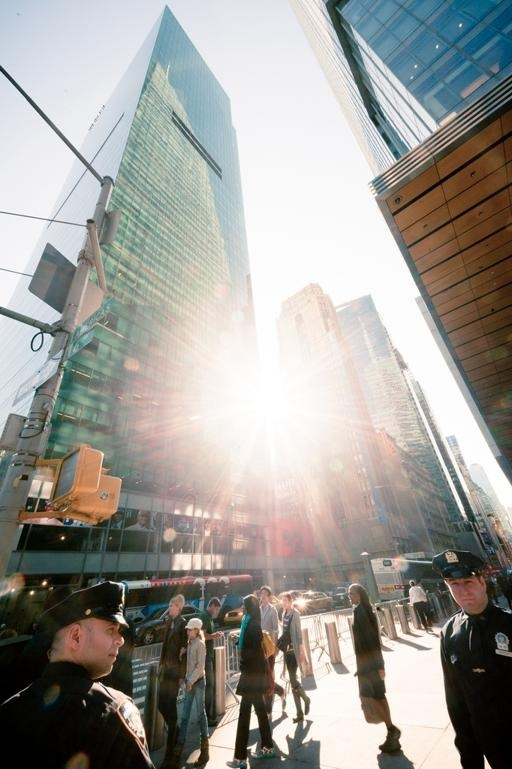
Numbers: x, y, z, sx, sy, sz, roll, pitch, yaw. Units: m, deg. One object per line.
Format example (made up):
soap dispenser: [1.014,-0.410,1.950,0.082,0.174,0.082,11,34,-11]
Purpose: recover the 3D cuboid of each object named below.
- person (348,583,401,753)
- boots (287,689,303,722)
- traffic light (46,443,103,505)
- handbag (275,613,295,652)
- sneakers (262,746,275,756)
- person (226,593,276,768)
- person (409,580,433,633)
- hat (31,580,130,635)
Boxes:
person: [1.398,3.376,4.389,0.399,1.572,0.954,-10,-27,9]
boots: [0.587,4.564,5.042,0.161,0.312,0.291,-6,-26,1]
traffic light: [-1.888,0.921,3.678,0.658,0.573,0.328,-14,-28,16]
handbag: [0.464,3.949,5.583,0.142,0.592,0.340,6,-18,-12]
sneakers: [0.133,4.118,3.980,0.145,0.083,0.123,-2,-27,-6]
person: [-0.084,3.439,4.202,0.476,1.596,0.868,-6,-26,1]
person: [5.540,7.487,11.905,0.527,1.345,1.043,-13,-27,16]
hat: [-0.845,1.048,1.770,0.434,0.215,0.363,-4,-37,-24]
